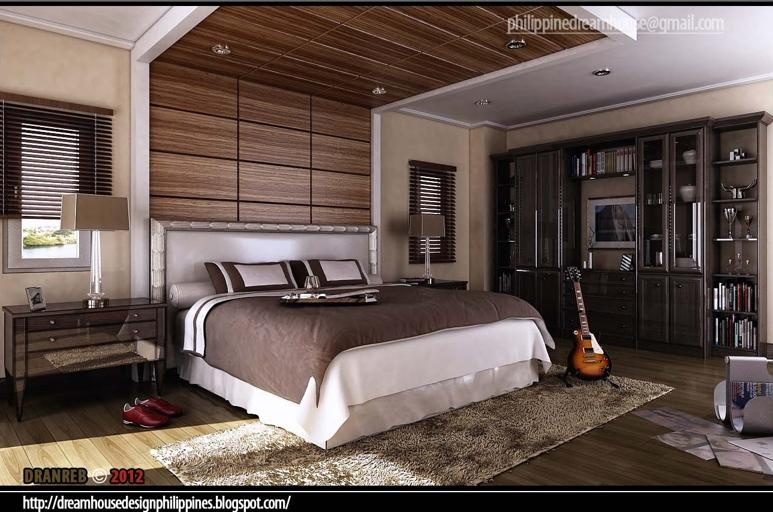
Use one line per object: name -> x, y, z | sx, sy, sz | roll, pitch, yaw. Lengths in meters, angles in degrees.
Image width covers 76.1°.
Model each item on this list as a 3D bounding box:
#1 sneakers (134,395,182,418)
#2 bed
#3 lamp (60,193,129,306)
sneakers -> -2.028, 1.294, 4.288 | 0.497, 0.146, 0.175 | 6, 1, 16
bed -> -0.413, 0.459, 5.220 | 3.267, 1.435, 3.001 | -3, 7, -35
lamp -> -2.722, -0.071, 4.712 | 0.559, 1.043, 0.628 | 6, 12, 28
